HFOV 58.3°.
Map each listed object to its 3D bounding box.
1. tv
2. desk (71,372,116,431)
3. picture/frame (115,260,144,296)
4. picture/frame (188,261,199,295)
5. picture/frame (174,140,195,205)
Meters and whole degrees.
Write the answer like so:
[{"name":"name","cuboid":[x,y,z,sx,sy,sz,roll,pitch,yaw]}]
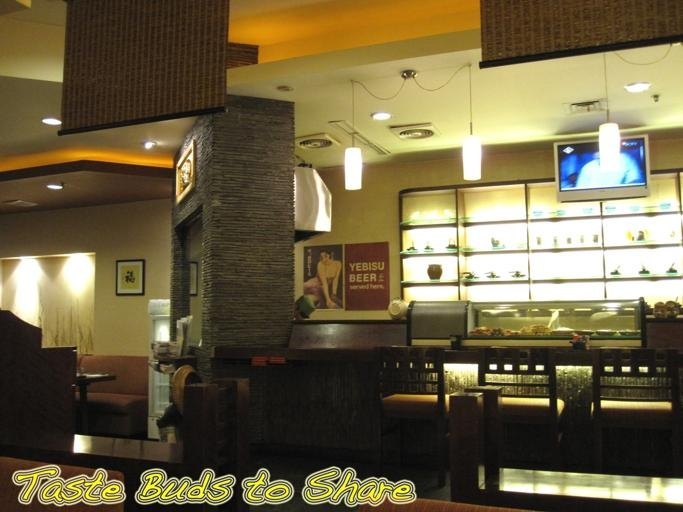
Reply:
[{"name":"tv","cuboid":[2.813,-0.932,6.614,0.993,0.565,0.098,-1,-3,15]},{"name":"desk","cuboid":[-2.891,1.745,7.238,0.406,0.757,0.692,1,-4,-20]},{"name":"picture/frame","cuboid":[-3.250,0.329,9.504,0.549,0.558,0.086,-2,-5,27]},{"name":"picture/frame","cuboid":[-1.786,0.273,7.477,0.036,0.453,0.429,4,-7,-30]},{"name":"picture/frame","cuboid":[-1.807,-0.971,7.138,0.069,0.462,0.863,6,-12,-22]}]
